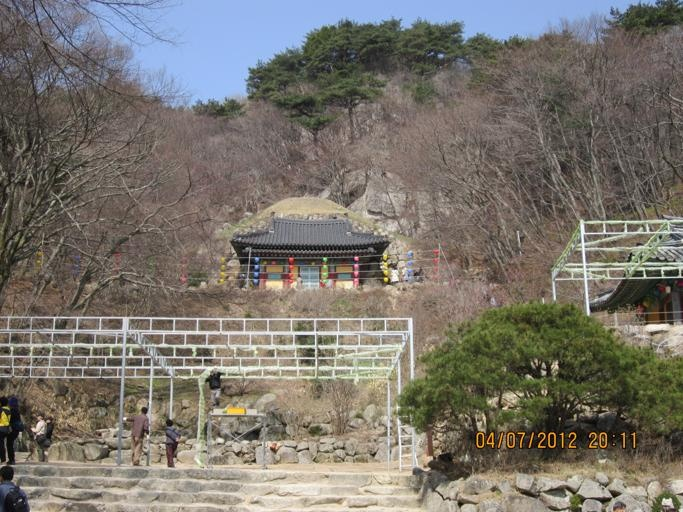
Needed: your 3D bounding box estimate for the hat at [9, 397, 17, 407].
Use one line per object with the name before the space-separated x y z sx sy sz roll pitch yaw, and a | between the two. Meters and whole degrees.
hat | -12.534 5.572 57.833 0.277 0.416 0.399 3 -3 -13
